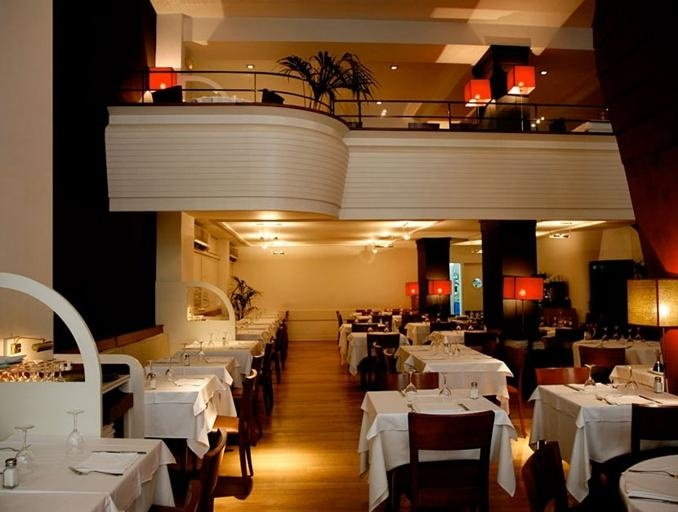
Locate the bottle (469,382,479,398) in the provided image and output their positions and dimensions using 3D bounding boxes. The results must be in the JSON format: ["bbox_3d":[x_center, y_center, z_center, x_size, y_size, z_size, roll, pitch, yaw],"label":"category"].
[{"bbox_3d":[1.365,1.359,5.690,0.071,0.151,0.121,1,0,18],"label":"bottle"}]

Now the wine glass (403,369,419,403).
[{"bbox_3d":[0.779,1.385,6.094,0.169,0.288,0.169,1,-11,-3],"label":"wine glass"}]

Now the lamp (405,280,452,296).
[{"bbox_3d":[2.308,0.845,14.540,0.968,0.445,1.898,1,-1,1],"label":"lamp"}]

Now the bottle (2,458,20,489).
[{"bbox_3d":[-2.416,1.607,4.165,0.131,0.211,0.069,1,0,9],"label":"bottle"}]

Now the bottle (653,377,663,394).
[{"bbox_3d":[3.327,1.344,5.897,0.069,0.139,0.201,1,0,35],"label":"bottle"}]

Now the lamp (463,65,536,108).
[{"bbox_3d":[3.085,-3.240,10.902,1.449,0.814,0.819,0,0,37],"label":"lamp"}]

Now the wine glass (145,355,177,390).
[{"bbox_3d":[-2.073,1.392,6.634,0.317,0.322,0.328,2,-8,-11],"label":"wine glass"}]
